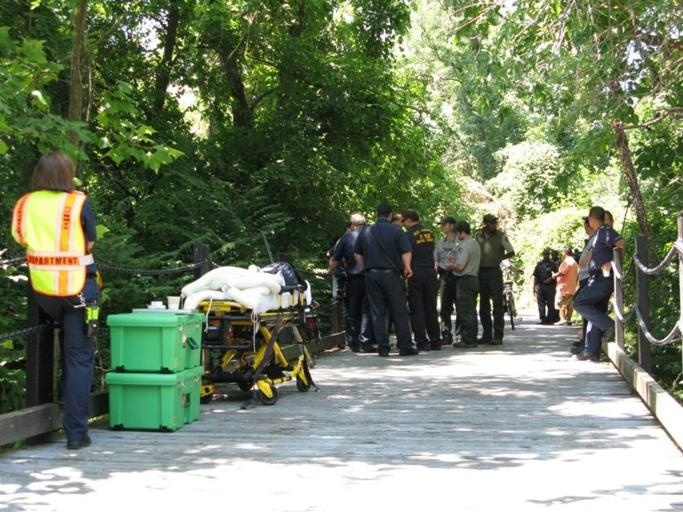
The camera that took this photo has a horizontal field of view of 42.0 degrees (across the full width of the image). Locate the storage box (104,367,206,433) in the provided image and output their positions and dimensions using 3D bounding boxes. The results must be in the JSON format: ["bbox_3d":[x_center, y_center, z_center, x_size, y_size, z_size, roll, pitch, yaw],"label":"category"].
[{"bbox_3d":[-1.920,1.437,9.086,0.793,0.489,1.088,0,-3,2],"label":"storage box"}]

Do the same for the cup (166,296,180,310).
[{"bbox_3d":[-1.718,0.484,9.144,0.144,0.102,0.143,4,3,0],"label":"cup"}]

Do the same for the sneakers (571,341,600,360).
[{"bbox_3d":[3.462,1.397,12.739,0.418,0.258,0.130,7,-3,2],"label":"sneakers"}]

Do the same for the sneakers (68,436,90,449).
[{"bbox_3d":[-2.359,1.675,8.010,0.087,0.086,0.216,1,0,14],"label":"sneakers"}]

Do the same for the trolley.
[{"bbox_3d":[-1.086,1.071,10.377,1.166,1.050,1.679,-1,-2,16],"label":"trolley"}]

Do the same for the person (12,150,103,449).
[{"bbox_3d":[-2.526,0.396,7.980,0.677,2.646,0.381,-2,6,-10],"label":"person"}]

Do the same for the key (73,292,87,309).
[{"bbox_3d":[-2.350,0.397,7.975,0.113,0.140,0.038,0,6,-8],"label":"key"}]

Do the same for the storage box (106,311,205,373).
[{"bbox_3d":[-1.875,0.852,8.836,0.669,0.462,0.824,-1,-3,4],"label":"storage box"}]

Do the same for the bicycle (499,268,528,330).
[{"bbox_3d":[3.819,1.064,20.079,0.714,0.875,1.666,-11,5,13],"label":"bicycle"}]
